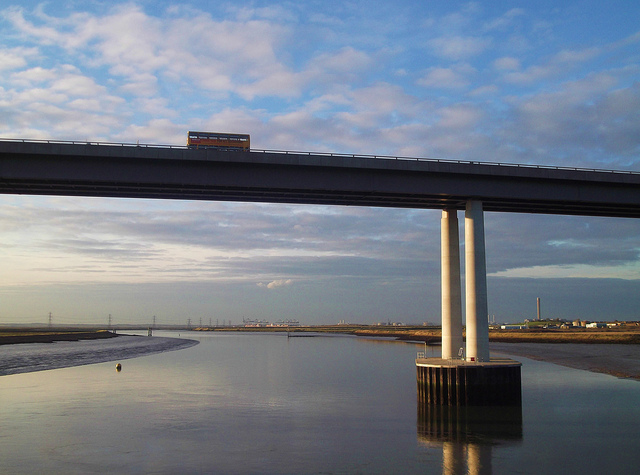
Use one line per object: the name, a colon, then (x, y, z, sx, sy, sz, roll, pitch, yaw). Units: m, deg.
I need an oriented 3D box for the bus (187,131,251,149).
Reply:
bus: (-9.305, -9.005, 76.109, 5.372, 1.520, 2.800, 0, 2, -8)
